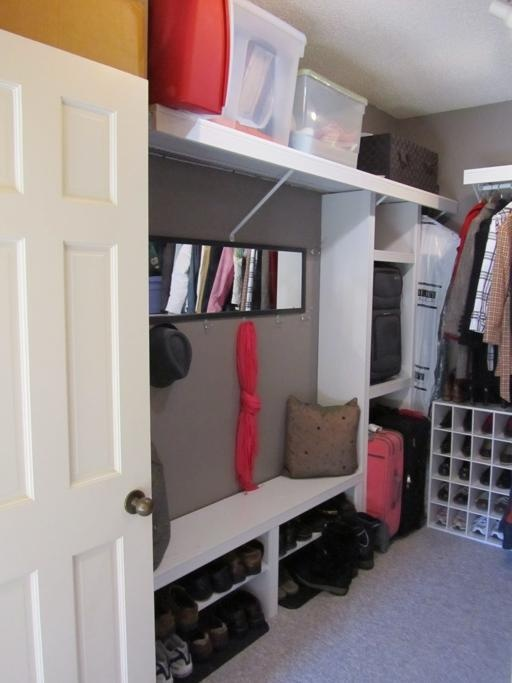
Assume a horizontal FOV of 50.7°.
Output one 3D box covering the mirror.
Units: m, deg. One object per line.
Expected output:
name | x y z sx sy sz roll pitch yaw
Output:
mirror | -0.077 -0.260 2.267 0.030 0.294 0.969 6 8 38

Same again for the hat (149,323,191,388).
hat | -0.288 0.051 1.867 0.074 0.203 0.150 11 30 35

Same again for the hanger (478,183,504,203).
hanger | 1.227 -0.790 2.827 0.099 0.025 0.100 4 -25 40

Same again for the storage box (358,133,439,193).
storage box | 0.809 -0.973 2.963 0.563 0.252 0.221 -4 8 -36

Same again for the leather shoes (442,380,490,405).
leather shoes | 1.144 0.274 2.970 0.085 0.108 0.243 5 9 39

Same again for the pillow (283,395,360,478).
pillow | 0.307 0.473 2.605 0.392 0.412 0.153 1 -1 -5
